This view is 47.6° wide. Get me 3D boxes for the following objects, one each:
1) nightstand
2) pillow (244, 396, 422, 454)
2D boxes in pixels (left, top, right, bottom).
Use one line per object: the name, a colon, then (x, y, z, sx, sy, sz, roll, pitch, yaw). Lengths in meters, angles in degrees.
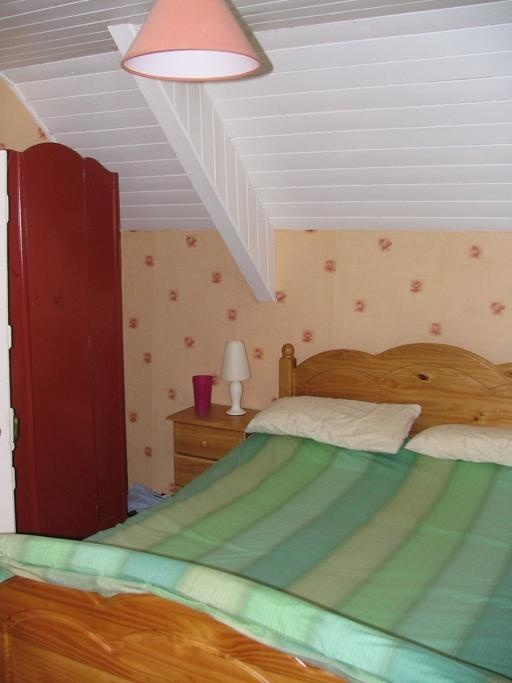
nightstand: (-0.270, 0.513, 3.269, 0.553, 0.603, 0.432, 5, 7, 37)
pillow: (0.341, 0.371, 2.677, 0.531, 0.082, 0.312, 6, 28, 26)
